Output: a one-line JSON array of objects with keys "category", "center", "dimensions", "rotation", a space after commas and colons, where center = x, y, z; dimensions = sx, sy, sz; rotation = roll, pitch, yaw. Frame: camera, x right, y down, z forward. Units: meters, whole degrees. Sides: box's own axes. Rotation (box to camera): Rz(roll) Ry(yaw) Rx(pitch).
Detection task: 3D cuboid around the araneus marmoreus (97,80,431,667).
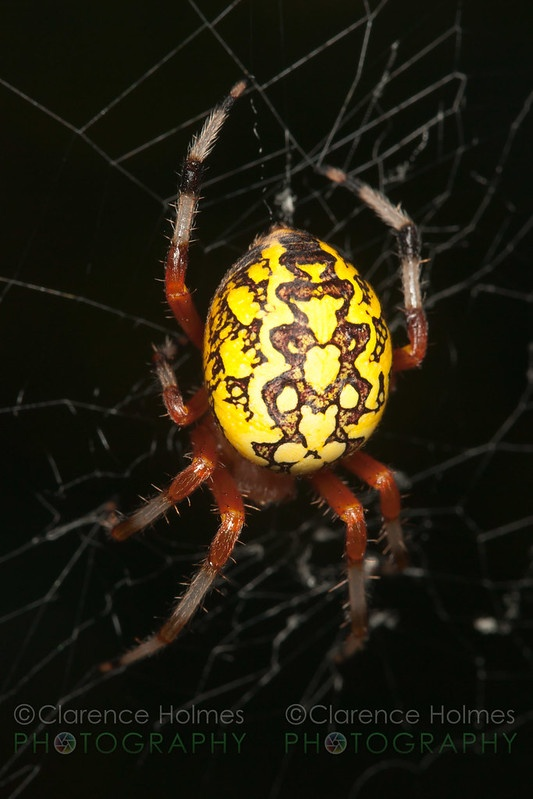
[{"category": "araneus marmoreus", "center": [0.046, -0.035, 1.198], "dimensions": [0.502, 0.814, 0.491], "rotation": [9, -32, -23]}]
